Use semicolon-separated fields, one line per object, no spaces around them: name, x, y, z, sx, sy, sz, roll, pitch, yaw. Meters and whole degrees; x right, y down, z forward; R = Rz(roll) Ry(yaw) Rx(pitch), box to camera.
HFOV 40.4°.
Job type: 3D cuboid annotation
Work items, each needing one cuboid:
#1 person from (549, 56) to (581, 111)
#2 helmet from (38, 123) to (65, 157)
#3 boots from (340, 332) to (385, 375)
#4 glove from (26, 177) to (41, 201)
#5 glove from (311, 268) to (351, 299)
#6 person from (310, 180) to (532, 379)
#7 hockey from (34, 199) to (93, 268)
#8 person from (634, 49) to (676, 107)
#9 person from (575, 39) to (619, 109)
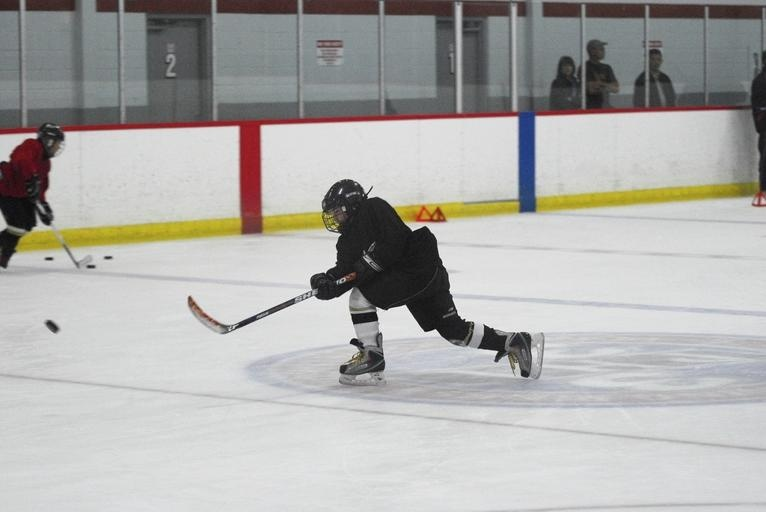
person;2.247;-2.115;12.756;0.452;0.640;0.149;-12;18;-40
helmet;-2.806;-0.962;8.769;0.207;0.273;0.221;-5;13;-16
boots;-0.128;0.521;5.476;0.317;0.182;0.102;-6;3;-34
glove;-2.932;-0.567;8.728;0.116;0.209;0.172;-10;15;-32
glove;-0.264;0.131;5.470;0.159;0.076;0.200;20;37;32
person;0.300;0.169;5.440;1.526;1.015;0.536;4;-7;40
hockey;-2.971;-0.199;9.565;0.221;0.700;0.182;-42;-7;31
person;3.500;-2.265;13.329;0.740;0.746;0.169;-10;17;-37
person;2.624;-2.274;12.862;0.520;0.982;0.364;-29;36;-25
